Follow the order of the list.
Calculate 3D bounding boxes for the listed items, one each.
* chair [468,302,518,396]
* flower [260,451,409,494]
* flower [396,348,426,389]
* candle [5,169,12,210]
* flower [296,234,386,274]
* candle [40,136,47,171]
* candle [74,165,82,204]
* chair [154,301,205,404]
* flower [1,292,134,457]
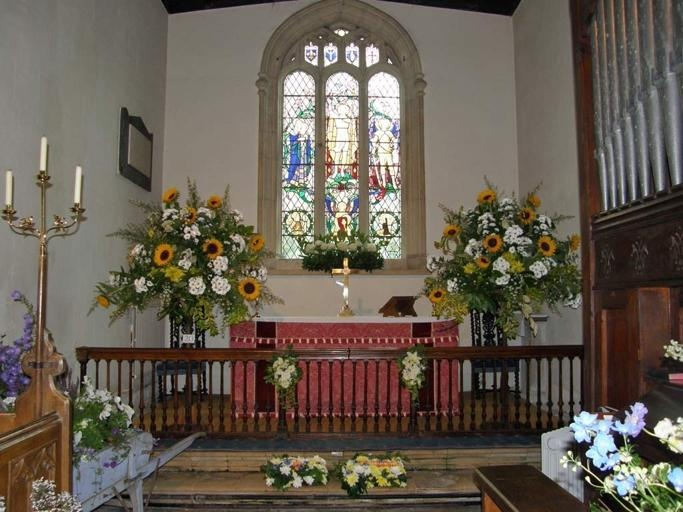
[{"bbox_3d":[1.889,1.149,8.949,0.555,1.256,0.612,-9,-2,20],"label":"chair"},{"bbox_3d":[-0.068,1.944,6.348,1.301,0.355,0.343,-4,-3,2],"label":"flower"},{"bbox_3d":[0.685,1.073,6.779,0.314,0.357,0.131,5,-1,7],"label":"flower"},{"bbox_3d":[-2.490,-0.481,5.283,0.035,0.293,0.148,-2,-3,-21],"label":"candle"},{"bbox_3d":[-0.009,-0.133,8.890,0.775,0.343,0.793,-9,4,-21],"label":"flower"},{"bbox_3d":[-2.163,-0.732,5.126,0.032,0.235,0.128,-2,-3,-31],"label":"candle"},{"bbox_3d":[-2.018,-0.537,5.398,0.049,0.350,0.401,-2,-3,-21],"label":"candle"},{"bbox_3d":[-1.914,1.197,8.555,0.466,1.062,0.555,1,4,8],"label":"chair"},{"bbox_3d":[-2.241,1.013,5.650,1.202,0.777,0.978,18,-2,4],"label":"flower"}]
